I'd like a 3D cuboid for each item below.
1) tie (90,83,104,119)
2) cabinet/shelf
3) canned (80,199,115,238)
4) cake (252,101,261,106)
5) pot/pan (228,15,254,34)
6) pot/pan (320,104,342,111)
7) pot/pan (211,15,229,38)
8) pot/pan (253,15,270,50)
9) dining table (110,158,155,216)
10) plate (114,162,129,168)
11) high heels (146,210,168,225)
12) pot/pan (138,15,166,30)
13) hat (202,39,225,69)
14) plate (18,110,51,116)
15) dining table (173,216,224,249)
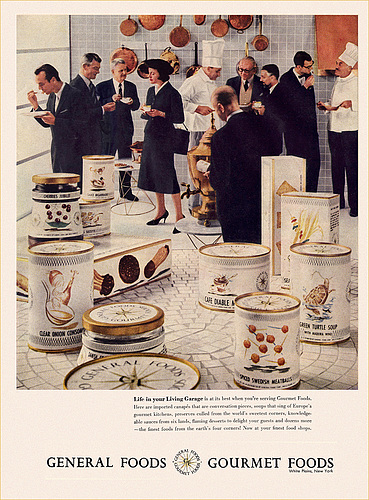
[{"bbox_3d":[-0.587,-0.995,4.301,0.043,0.160,0.159,-22,-3,3],"label":"tie"},{"bbox_3d":[1.041,-1.409,4.400,0.439,0.403,0.229,-7,11,-42],"label":"cabinet/shelf"},{"bbox_3d":[-0.482,-0.180,3.446,0.201,0.193,0.198,-6,16,-25],"label":"canned"},{"bbox_3d":[0.462,-0.933,4.072,0.038,0.023,0.036,0,8,-3],"label":"cake"},{"bbox_3d":[0.374,-1.505,4.261,0.163,0.107,0.051,1,8,3],"label":"pot/pan"},{"bbox_3d":[1.010,-0.999,4.488,0.108,0.028,0.075,0,15,2],"label":"pot/pan"},{"bbox_3d":[0.241,-1.483,4.233,0.114,0.124,0.048,-2,15,-6],"label":"pot/pan"},{"bbox_3d":[0.504,-1.435,4.237,0.115,0.236,0.057,2,9,12],"label":"pot/pan"},{"bbox_3d":[-0.348,-0.432,4.461,0.300,0.333,0.426,-4,10,-9],"label":"dining table"},{"bbox_3d":[-0.418,-0.562,4.273,0.100,0.042,0.106,-3,8,-22],"label":"plate"},{"bbox_3d":[-0.177,-0.211,4.430,0.206,0.115,0.067,-1,6,-9],"label":"high heels"},{"bbox_3d":[-0.216,-1.510,4.254,0.180,0.093,0.062,0,8,-5],"label":"pot/pan"},{"bbox_3d":[0.189,-1.306,4.276,0.151,0.186,0.066,1,8,2],"label":"hat"},{"bbox_3d":[-0.967,-0.886,4.147,0.186,0.043,0.056,-6,14,-27],"label":"plate"},{"bbox_3d":[0.140,-0.168,4.372,0.461,0.192,0.440,-1,0,11],"label":"dining table"}]
